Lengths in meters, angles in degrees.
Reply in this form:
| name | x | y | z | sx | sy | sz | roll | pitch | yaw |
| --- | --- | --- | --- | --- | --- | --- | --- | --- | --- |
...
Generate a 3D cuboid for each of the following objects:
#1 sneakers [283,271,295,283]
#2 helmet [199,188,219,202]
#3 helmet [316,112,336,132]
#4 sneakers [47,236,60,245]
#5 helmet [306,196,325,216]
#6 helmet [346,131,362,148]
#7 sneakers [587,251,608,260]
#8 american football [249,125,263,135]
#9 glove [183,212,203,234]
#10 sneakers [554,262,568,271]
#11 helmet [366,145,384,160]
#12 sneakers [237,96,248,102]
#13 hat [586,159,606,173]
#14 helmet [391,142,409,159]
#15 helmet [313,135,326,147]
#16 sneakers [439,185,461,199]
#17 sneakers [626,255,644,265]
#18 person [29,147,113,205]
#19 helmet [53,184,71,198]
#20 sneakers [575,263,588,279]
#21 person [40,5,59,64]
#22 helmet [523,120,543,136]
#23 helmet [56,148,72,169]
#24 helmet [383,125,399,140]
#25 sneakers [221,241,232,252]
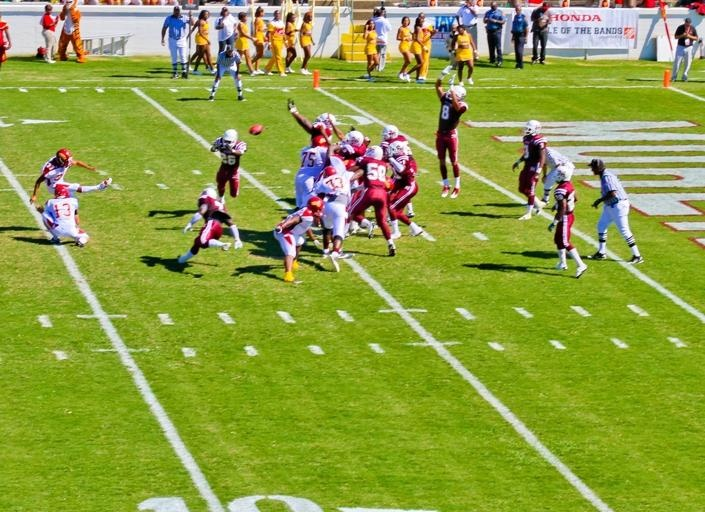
| name | x | y | z | sx | sy | sz | roll | pitch | yaw |
| --- | --- | --- | --- | --- | --- | --- | --- | --- | --- |
| sneakers | -1.056 | 0.342 | 24.572 | 0.264 | 0.174 | 0.125 | -3 | 23 | -6 |
| helmet | -2.414 | -1.049 | 24.641 | 0.317 | 0.228 | 0.242 | 3 | 12 | -43 |
| helmet | -0.430 | -2.422 | 26.358 | 0.337 | 0.261 | 0.533 | 14 | 18 | 35 |
| sneakers | -5.238 | -0.259 | 25.737 | 0.210 | 0.137 | 0.105 | 11 | 6 | -2 |
| helmet | -0.600 | -0.840 | 24.620 | 0.225 | 0.315 | 0.425 | 7 | 15 | 11 |
| helmet | 0.064 | -2.128 | 26.330 | 0.322 | 0.239 | 0.405 | 3 | 14 | -1 |
| sneakers | 4.383 | 0.002 | 25.919 | 0.412 | 0.116 | 0.118 | 3 | 7 | 15 |
| american football | -1.760 | -2.325 | 27.059 | 0.270 | 0.143 | 0.287 | -13 | 9 | 0 |
| glove | -2.790 | -0.560 | 25.791 | 0.152 | 0.538 | 0.165 | 44 | 27 | -19 |
| sneakers | 3.687 | 0.180 | 25.362 | 0.250 | 0.164 | 0.184 | -1 | 16 | -13 |
| helmet | 0.386 | -1.781 | 25.477 | 0.312 | 0.220 | 0.400 | 3 | 14 | 0 |
| sneakers | -2.616 | -3.783 | 35.048 | 0.229 | 0.057 | 0.120 | 0 | -24 | 6 |
| hat | 4.315 | -1.544 | 25.605 | 0.249 | 0.342 | 0.608 | 6 | 15 | 7 |
| helmet | 0.904 | -1.911 | 26.264 | 0.315 | 0.289 | 0.209 | 3 | 17 | -2 |
| helmet | -0.574 | -2.053 | 26.250 | 0.265 | 0.198 | 0.337 | 3 | 14 | -2 |
| sneakers | 1.979 | -1.265 | 28.825 | 0.287 | 0.087 | 0.330 | 9 | 26 | 24 |
| sneakers | 5.014 | 0.080 | 25.756 | 0.331 | 0.075 | 0.119 | -3 | -20 | 7 |
| person | -4.861 | -1.355 | 25.603 | 1.386 | 0.529 | 0.930 | 12 | 13 | 8 |
| helmet | -5.046 | -1.124 | 25.452 | 0.287 | 0.218 | 0.270 | 2 | -16 | -25 |
| sneakers | 3.962 | 0.253 | 25.111 | 0.171 | 0.319 | 0.106 | 23 | 47 | -10 |
| person | -8.155 | -6.036 | 39.512 | 0.456 | 1.557 | 1.410 | 1 | 16 | -11 |
| helmet | 3.323 | -2.336 | 26.789 | 0.214 | 0.252 | 0.210 | 9 | 17 | 18 |
| helmet | -5.032 | -1.708 | 25.559 | 0.256 | 0.301 | 0.297 | 2 | 16 | -5 |
| helmet | 0.670 | -2.248 | 26.578 | 0.391 | 0.213 | 0.278 | 10 | 13 | 23 |
| sneakers | -2.149 | -0.161 | 25.049 | 0.285 | 0.147 | 0.372 | 0 | 0 | -7 |
